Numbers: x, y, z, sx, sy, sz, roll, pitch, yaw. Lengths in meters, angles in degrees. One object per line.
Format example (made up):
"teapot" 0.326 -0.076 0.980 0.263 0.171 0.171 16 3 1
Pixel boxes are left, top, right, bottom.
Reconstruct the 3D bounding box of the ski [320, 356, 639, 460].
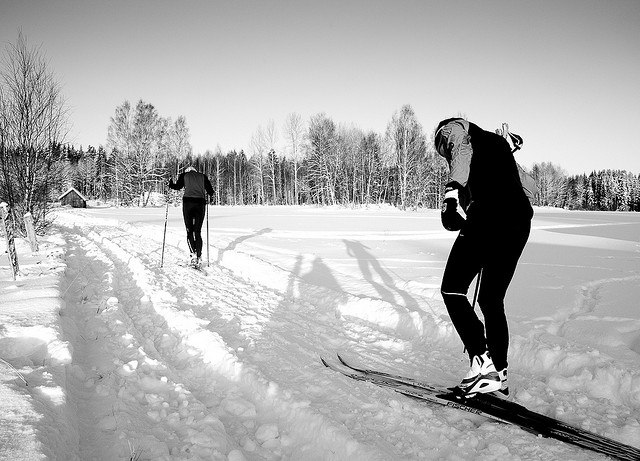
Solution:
"ski" 1.577 1.732 4.027 2.136 0.158 0.246 15 -19 29

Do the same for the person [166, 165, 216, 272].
"person" -2.635 -0.285 8.795 0.869 2.058 1.430 -3 13 -18

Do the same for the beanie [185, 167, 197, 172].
"beanie" -2.732 -1.304 8.932 0.205 0.094 0.105 -3 13 -17

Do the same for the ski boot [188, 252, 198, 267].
"ski boot" -2.583 0.618 8.647 0.197 0.283 0.084 -1 -5 9

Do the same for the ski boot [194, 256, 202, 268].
"ski boot" -2.492 0.665 8.627 0.056 0.165 0.118 11 5 -28

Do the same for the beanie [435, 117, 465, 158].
"beanie" 1.317 -0.966 4.368 0.231 0.400 0.211 3 12 10

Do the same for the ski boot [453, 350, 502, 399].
"ski boot" 1.533 1.458 4.223 0.213 0.422 0.599 19 -36 -29

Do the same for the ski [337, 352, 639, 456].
"ski" 1.675 1.711 4.075 2.696 0.235 0.289 14 5 36
